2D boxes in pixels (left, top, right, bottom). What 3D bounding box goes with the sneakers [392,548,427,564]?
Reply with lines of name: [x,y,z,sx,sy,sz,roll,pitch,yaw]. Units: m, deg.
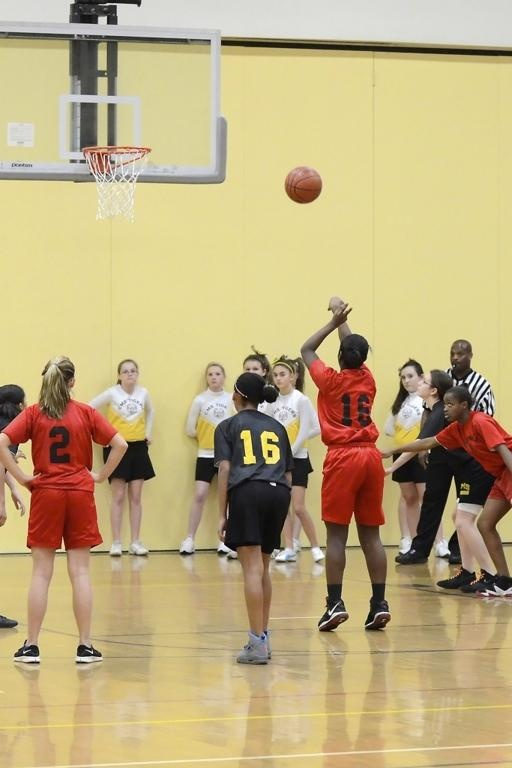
sneakers: [1.361,1.500,7.354,0.241,0.103,0.126,4,-10,-9]

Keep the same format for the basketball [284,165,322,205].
basketball: [0.309,-1.297,5.451,0.217,0.264,0.254,1,3,6]

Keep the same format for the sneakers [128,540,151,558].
sneakers: [-1.060,1.493,7.682,0.101,0.089,0.184,-1,-6,-26]

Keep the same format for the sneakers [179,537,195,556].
sneakers: [-0.635,1.507,7.807,0.123,0.137,0.326,-1,-10,4]

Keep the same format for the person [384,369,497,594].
person: [1.298,0.681,6.238,0.890,1.695,0.782,-4,-3,41]

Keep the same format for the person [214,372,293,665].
person: [-0.016,0.637,4.042,0.365,1.378,0.425,1,2,3]

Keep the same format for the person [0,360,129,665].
person: [-0.906,0.586,3.966,0.566,1.418,0.258,0,2,-8]

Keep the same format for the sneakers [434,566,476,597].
sneakers: [1.456,1.436,6.062,0.331,0.148,0.110,-5,-6,32]

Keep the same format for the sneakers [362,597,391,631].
sneakers: [0.662,1.292,4.691,0.089,0.116,0.256,-22,-14,-8]

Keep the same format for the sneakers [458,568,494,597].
sneakers: [1.510,1.389,5.869,0.296,0.122,0.099,-14,0,19]

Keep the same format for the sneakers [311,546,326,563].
sneakers: [0.554,1.501,7.414,0.070,0.080,0.189,-11,-13,-6]

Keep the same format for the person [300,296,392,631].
person: [0.496,0.457,4.610,0.490,1.846,0.298,1,2,3]

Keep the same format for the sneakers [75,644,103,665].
sneakers: [-0.776,1.255,3.934,0.061,0.066,0.154,-1,-2,30]

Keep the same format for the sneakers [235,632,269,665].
sneakers: [-0.009,1.230,3.952,0.153,0.147,0.118,1,3,-1]

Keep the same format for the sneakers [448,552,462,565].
sneakers: [1.760,1.535,7.424,0.096,0.077,0.135,-1,22,6]

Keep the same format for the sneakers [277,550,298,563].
sneakers: [0.283,1.511,7.406,0.079,0.090,0.215,-10,-18,26]
